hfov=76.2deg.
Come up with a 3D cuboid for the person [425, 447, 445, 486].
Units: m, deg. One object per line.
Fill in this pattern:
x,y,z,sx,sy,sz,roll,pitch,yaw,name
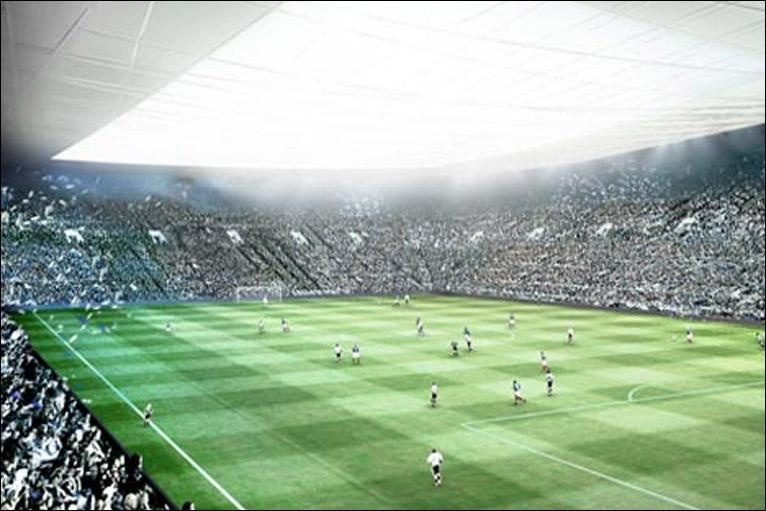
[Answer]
1.699,6.552,15.777,0.521,1.041,1.691,0,3,7,person
